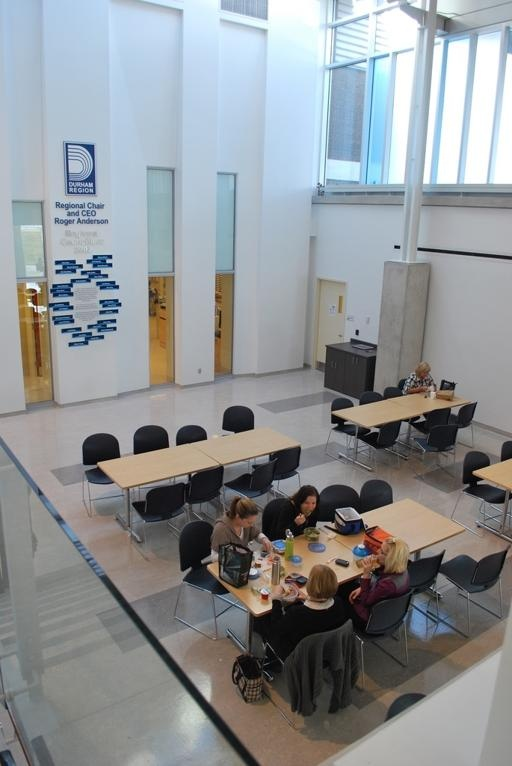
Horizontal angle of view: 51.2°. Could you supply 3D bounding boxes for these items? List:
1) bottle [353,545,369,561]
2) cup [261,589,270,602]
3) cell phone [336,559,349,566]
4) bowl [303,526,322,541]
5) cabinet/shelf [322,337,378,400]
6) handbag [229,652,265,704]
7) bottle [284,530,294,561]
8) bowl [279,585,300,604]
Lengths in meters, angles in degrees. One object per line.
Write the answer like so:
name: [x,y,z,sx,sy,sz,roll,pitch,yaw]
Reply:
bottle: [0.818,1.353,4.210,0.081,0.078,0.085,6,16,24]
cup: [0.063,1.466,3.654,0.044,0.036,0.044,3,11,-1]
cell phone: [0.659,1.386,4.094,0.042,0.029,0.073,-17,24,-42]
bowl: [0.476,1.286,4.498,0.135,0.085,0.120,-1,14,-2]
cabinet/shelf: [1.886,-0.236,10.537,0.547,1.007,0.976,-6,17,-31]
handbag: [-0.069,2.012,3.675,0.206,0.309,0.289,0,-2,-15]
bottle: [0.259,1.283,4.199,0.071,0.195,0.206,1,14,6]
bowl: [0.235,1.452,3.640,0.118,0.045,0.119,3,18,-1]
